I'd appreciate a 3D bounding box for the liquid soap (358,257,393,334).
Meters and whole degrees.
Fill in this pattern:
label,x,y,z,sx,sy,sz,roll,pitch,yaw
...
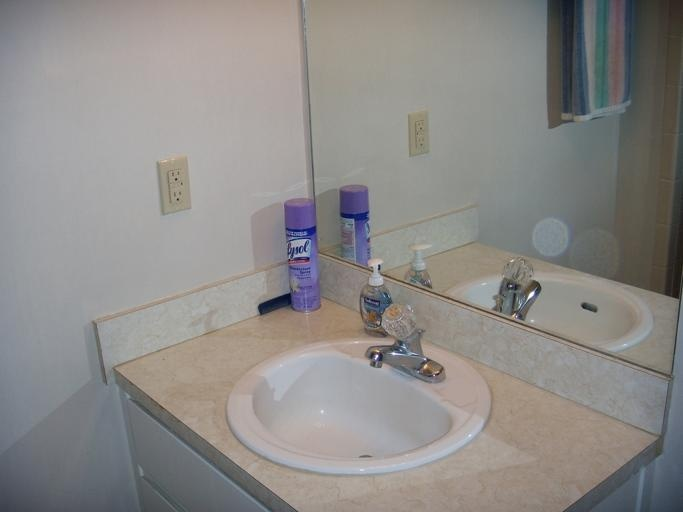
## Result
label,x,y,z,sx,sy,sz,roll,pitch,yaw
liquid soap,0.100,0.102,1.385,0.089,0.192,0.095,11,19,43

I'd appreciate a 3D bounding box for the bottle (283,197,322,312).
label,x,y,z,sx,sy,sz,roll,pitch,yaw
bottle,-0.115,-0.002,1.487,0.090,0.335,0.090,-2,20,1

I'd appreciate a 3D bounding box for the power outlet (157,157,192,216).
label,x,y,z,sx,sy,sz,roll,pitch,yaw
power outlet,-0.439,-0.186,1.303,0.109,0.191,0.021,-16,26,-36
